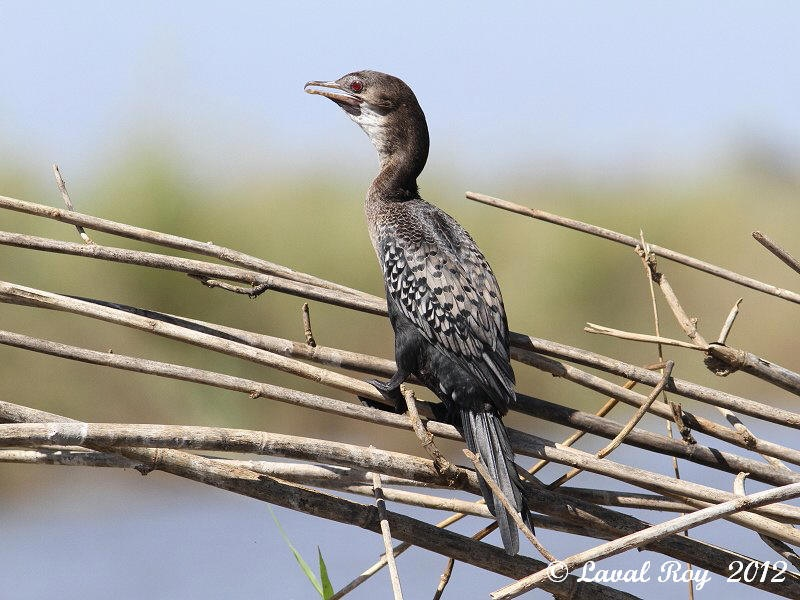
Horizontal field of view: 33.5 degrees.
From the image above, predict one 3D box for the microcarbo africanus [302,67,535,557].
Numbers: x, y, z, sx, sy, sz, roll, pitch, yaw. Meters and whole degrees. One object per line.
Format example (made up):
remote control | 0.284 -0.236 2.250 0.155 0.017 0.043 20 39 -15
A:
microcarbo africanus | 0.177 -0.020 7.723 1.209 2.856 0.965 -2 -10 2
